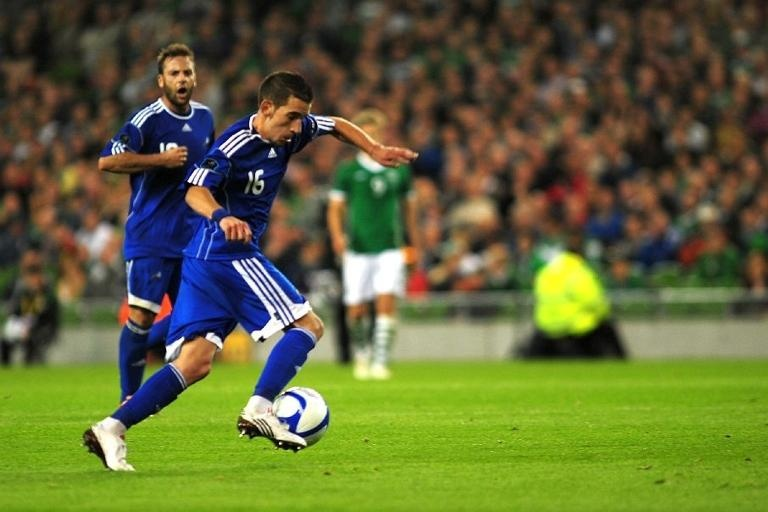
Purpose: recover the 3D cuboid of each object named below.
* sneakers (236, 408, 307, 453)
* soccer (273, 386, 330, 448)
[{"bbox_3d":[-0.761,1.188,6.860,0.464,0.272,0.123,0,1,-6],"label":"sneakers"},{"bbox_3d":[-0.562,1.092,6.916,0.423,0.386,0.389,1,-5,10],"label":"soccer"}]
